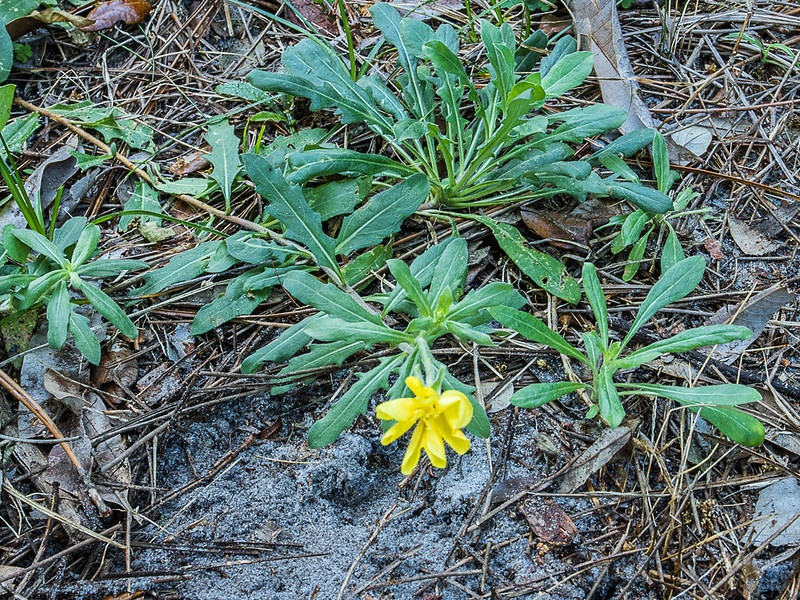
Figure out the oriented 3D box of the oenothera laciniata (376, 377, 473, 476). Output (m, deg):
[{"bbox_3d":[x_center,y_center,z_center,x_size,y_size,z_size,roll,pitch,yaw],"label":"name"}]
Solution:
[{"bbox_3d":[0.083,0.433,2.337,0.356,0.137,0.314,-21,79,-47],"label":"oenothera laciniata"}]
